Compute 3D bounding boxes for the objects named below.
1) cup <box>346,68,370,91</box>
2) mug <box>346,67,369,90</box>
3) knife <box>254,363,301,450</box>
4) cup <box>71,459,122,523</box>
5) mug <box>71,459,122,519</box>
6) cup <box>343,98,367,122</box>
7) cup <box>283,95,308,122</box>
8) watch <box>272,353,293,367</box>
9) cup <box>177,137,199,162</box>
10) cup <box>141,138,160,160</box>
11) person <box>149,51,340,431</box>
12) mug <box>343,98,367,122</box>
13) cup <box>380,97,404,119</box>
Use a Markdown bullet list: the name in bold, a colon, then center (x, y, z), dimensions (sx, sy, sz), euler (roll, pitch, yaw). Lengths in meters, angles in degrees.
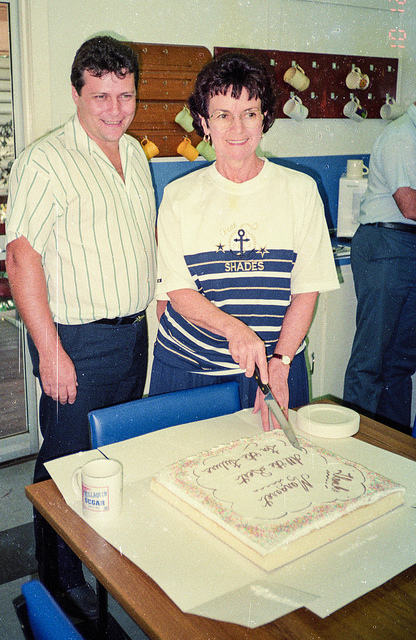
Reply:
- **cup**: center (0.943, -1.506, 3.141), dimensions (0.105, 0.167, 0.065), euler (-12, -5, -13)
- **mug**: center (0.947, -1.535, 3.165), dimensions (0.174, 0.134, 0.075), euler (-9, 11, -40)
- **knife**: center (0.135, 0.173, 1.046), dimensions (0.030, 0.027, 0.268), euler (26, 23, -22)
- **cup**: center (-0.169, 0.255, 0.747), dimensions (0.088, 0.080, 0.059), euler (2, 8, 19)
- **mug**: center (-0.168, 0.252, 0.746), dimensions (0.088, 0.070, 0.061), euler (1, 9, 13)
- **cup**: center (0.923, -1.321, 3.195), dimensions (0.105, 0.160, 0.098), euler (15, 20, -5)
- **cup**: center (0.511, -1.205, 2.872), dimensions (0.130, 0.162, 0.099), euler (11, 11, -35)
- **watch**: center (0.181, 0.094, 1.196), dimensions (0.036, 0.035, 0.023), euler (34, 49, 2)
- **cup**: center (-0.097, -0.869, 2.598), dimensions (0.105, 0.111, 0.070), euler (37, 36, 0)
- **cup**: center (-0.272, -0.824, 2.458), dimensions (0.075, 0.114, 0.069), euler (-28, 10, 5)
- **person**: center (0.080, -0.186, 1.290), dimensions (0.489, 0.884, 0.393), euler (6, 11, 43)
- **mug**: center (0.921, -1.321, 3.195), dimensions (0.105, 0.159, 0.099), euler (10, 26, -16)
- **cup**: center (1.223, -1.385, 3.319), dimensions (0.180, 0.085, 0.091), euler (-7, 10, -34)
